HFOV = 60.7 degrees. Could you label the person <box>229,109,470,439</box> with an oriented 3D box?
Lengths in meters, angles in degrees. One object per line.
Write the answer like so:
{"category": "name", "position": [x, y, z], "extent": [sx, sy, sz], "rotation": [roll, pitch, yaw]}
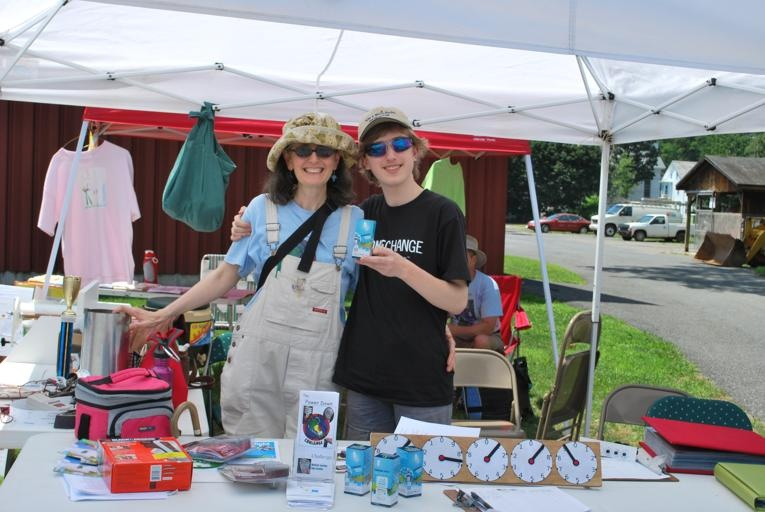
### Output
{"category": "person", "position": [0.136, 0.135, 3.948], "extent": [0.772, 2.038, 0.580], "rotation": [4, 7, 7]}

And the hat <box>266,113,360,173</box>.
{"category": "hat", "position": [-0.426, -0.725, 3.992], "extent": [0.411, 0.203, 0.412], "rotation": [-14, -15, 39]}

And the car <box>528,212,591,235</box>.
{"category": "car", "position": [10.893, -1.942, 39.233], "extent": [2.901, 1.098, 0.905], "rotation": [2, 7, -12]}

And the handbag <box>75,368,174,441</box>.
{"category": "handbag", "position": [-1.382, 0.813, 3.516], "extent": [0.403, 0.283, 0.406], "rotation": [2, 5, -33]}

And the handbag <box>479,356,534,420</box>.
{"category": "handbag", "position": [1.187, 1.290, 6.314], "extent": [0.747, 0.709, 0.546], "rotation": [0, -2, 7]}

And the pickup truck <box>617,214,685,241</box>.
{"category": "pickup truck", "position": [14.665, -1.555, 35.211], "extent": [2.666, 1.030, 1.484], "rotation": [2, 2, 8]}

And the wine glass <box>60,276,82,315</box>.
{"category": "wine glass", "position": [-2.319, 0.303, 4.868], "extent": [0.103, 0.275, 0.560], "rotation": [0, 7, -26]}

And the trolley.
{"category": "trolley", "position": [-1.416, 0.747, 3.703], "extent": [0.452, 0.561, 0.644], "rotation": [9, 1, 37]}
